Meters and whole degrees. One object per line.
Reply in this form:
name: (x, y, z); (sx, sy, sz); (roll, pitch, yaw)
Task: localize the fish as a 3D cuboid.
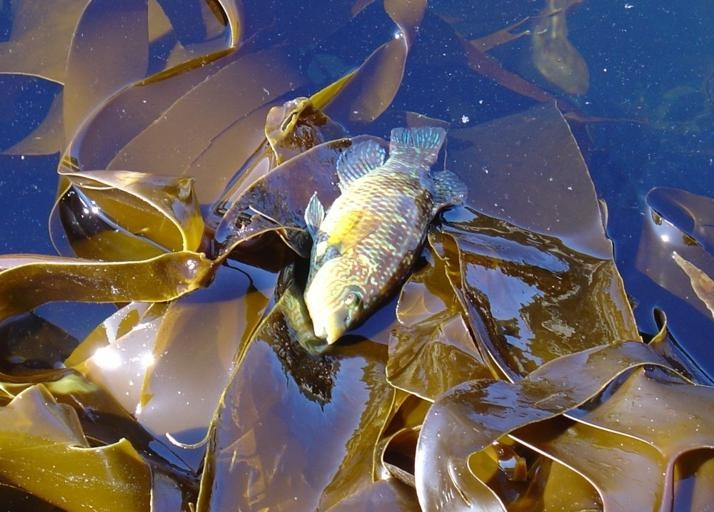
fish: (0.061, -0.156, 4.616); (0.523, 0.399, 1.174); (27, 79, 12)
